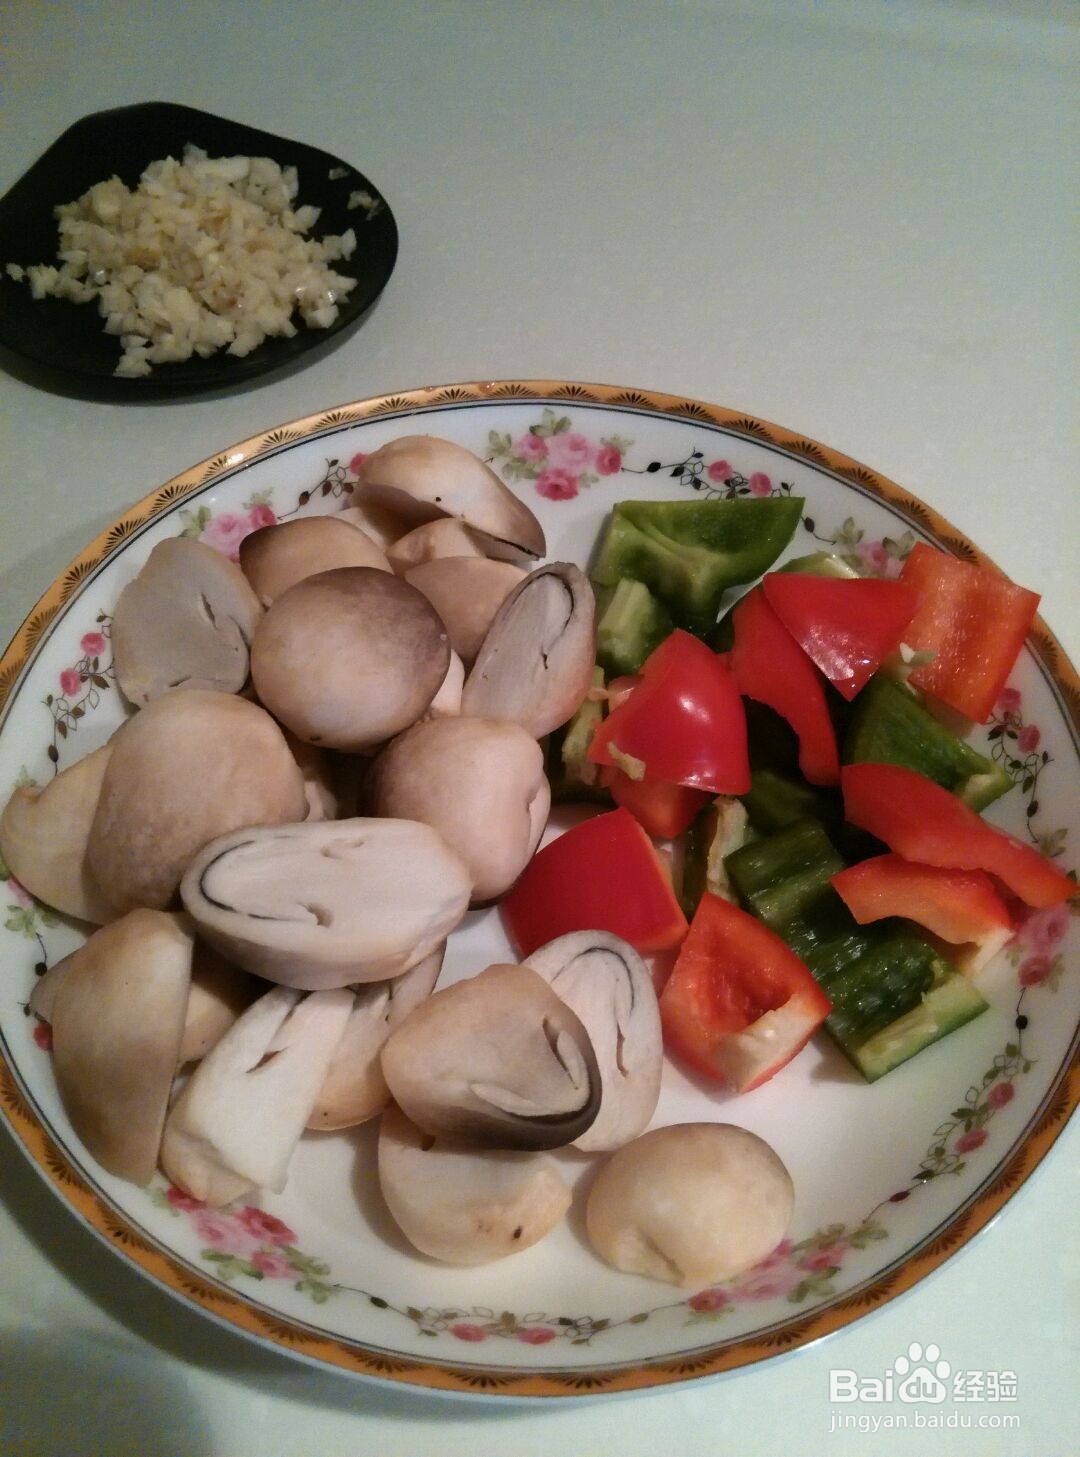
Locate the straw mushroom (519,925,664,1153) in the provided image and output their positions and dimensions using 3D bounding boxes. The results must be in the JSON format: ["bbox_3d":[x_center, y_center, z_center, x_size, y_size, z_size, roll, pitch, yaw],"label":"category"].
[{"bbox_3d":[0.039,0.205,0.943,0.119,0.038,0.126,5,76,-11],"label":"straw mushroom"}]

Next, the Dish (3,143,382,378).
[{"bbox_3d":[-0.334,-0.451,1.389,0.309,0.096,0.274,-30,61,-25],"label":"Dish"}]

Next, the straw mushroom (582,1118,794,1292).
[{"bbox_3d":[0.094,0.293,0.907,0.112,0.061,0.094,22,55,11],"label":"straw mushroom"}]
